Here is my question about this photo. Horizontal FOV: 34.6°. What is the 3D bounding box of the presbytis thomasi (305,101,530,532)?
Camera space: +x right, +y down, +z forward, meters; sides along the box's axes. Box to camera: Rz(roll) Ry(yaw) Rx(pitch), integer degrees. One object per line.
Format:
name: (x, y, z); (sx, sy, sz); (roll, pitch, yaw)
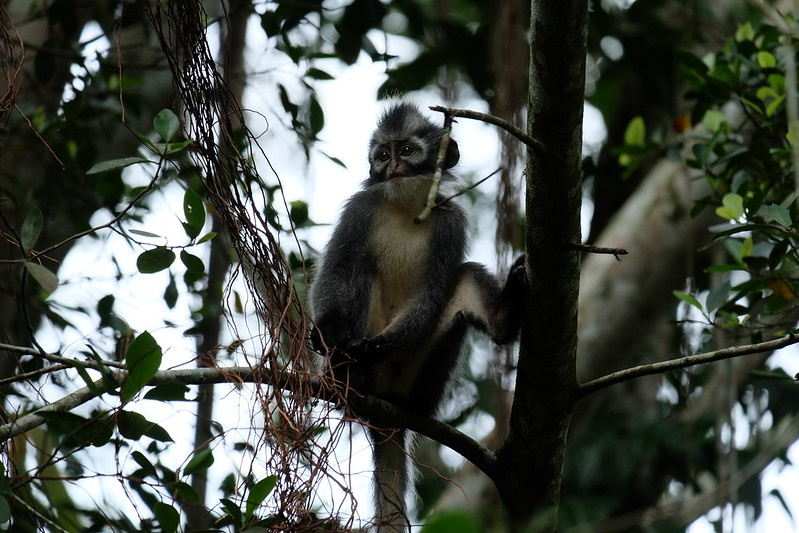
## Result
presbytis thomasi: (0.083, 0.157, 7.368); (0.763, 1.279, 2.914); (2, -58, -8)
